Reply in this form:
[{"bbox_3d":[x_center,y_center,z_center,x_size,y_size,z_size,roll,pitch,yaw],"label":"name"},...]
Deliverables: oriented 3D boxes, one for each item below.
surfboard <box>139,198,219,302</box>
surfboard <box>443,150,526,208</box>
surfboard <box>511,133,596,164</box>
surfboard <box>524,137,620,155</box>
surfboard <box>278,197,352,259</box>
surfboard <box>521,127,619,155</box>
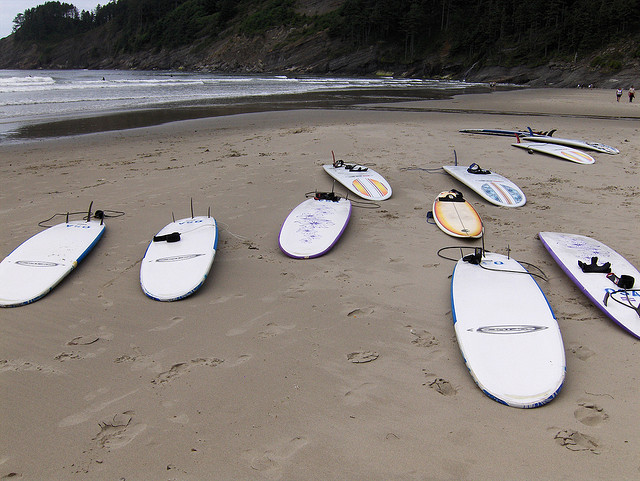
[{"bbox_3d":[-1.991,0.163,8.158,1.054,0.247,1.997,-7,33,3],"label":"surfboard"},{"bbox_3d":[3.035,-1.128,10.817,0.885,0.428,2.524,-3,22,-12],"label":"surfboard"},{"bbox_3d":[5.249,-2.096,12.675,0.463,0.347,2.075,-13,23,-20],"label":"surfboard"},{"bbox_3d":[6.048,-2.348,13.510,0.589,0.204,2.333,-6,14,-16],"label":"surfboard"},{"bbox_3d":[-0.066,-0.286,8.852,0.969,1.825,0.376,5,58,-14],"label":"surfboard"},{"bbox_3d":[5.876,-2.400,13.810,0.597,0.439,2.784,-17,21,-19],"label":"surfboard"}]
